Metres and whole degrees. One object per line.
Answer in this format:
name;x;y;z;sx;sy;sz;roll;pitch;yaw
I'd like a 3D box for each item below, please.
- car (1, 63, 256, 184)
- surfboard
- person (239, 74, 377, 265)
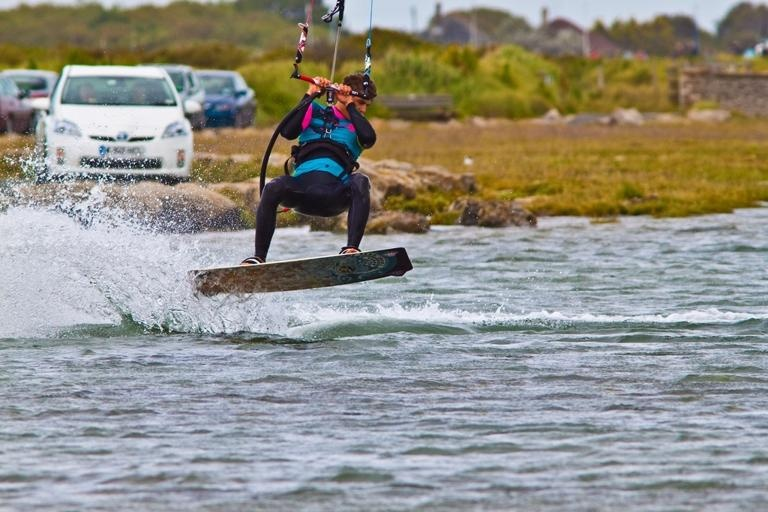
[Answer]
car;-3.825;-1.862;21.993;1.972;1.594;1.329;-3;10;-35
surfboard;-0.899;0.191;17.207;1.695;0.188;0.393;-8;-30;5
person;-0.707;-0.960;16.667;1.185;1.980;0.784;3;9;-1
